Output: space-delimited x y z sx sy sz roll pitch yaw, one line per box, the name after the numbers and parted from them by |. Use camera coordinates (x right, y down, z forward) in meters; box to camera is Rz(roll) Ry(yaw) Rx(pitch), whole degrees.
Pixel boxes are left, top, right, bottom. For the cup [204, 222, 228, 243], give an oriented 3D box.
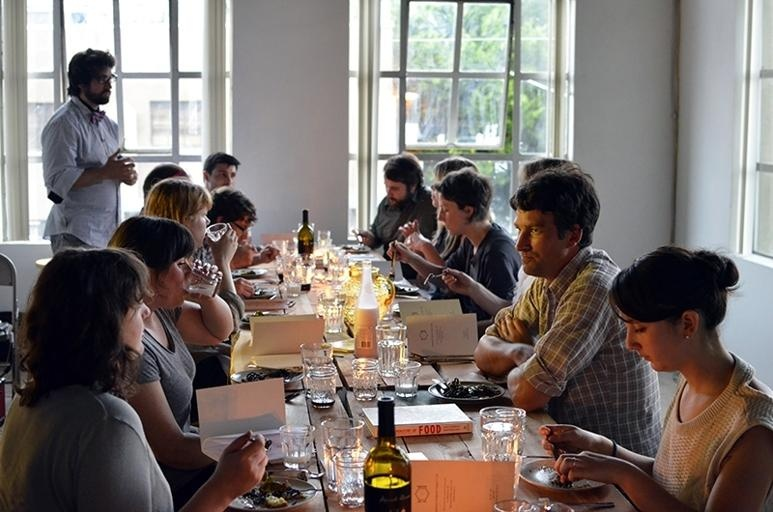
-0.927 -0.120 3.445 0.100 0.083 0.109 -1 16 0 | cup

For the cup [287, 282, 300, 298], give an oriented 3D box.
-0.569 0.213 3.832 0.082 0.064 0.083 -1 5 0 | cup

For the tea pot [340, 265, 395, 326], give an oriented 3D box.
-0.100 0.204 3.114 0.263 0.304 0.263 5 -6 1 | tea pot

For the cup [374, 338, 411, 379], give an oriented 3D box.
-0.010 0.408 2.565 0.139 0.161 0.147 0 -10 0 | cup

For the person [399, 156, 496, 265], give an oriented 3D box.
0.525 -0.515 4.589 0.445 0.784 0.395 15 -24 -28 | person

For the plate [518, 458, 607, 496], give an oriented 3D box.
0.486 0.657 1.850 0.117 0.020 0.118 -3 9 -17 | plate

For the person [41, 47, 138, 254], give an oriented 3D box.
-2.202 -0.744 4.622 0.655 1.452 0.608 -3 6 -21 | person

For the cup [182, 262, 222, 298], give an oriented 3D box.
-0.740 0.103 2.503 0.081 0.091 0.152 7 8 32 | cup

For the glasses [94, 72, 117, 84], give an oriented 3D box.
-2.047 -1.279 4.538 0.119 0.037 0.119 1 10 19 | glasses

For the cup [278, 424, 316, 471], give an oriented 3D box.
-0.281 0.601 1.938 0.109 0.119 0.114 -4 -10 -1 | cup

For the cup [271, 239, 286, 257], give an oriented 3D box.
-0.874 -0.066 4.971 0.161 0.186 0.161 0 6 0 | cup

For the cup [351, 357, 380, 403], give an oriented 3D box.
-0.079 0.469 2.347 0.097 0.139 0.096 -1 -2 0 | cup

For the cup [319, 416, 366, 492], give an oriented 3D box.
-0.132 0.590 1.868 0.119 0.181 0.120 -7 -7 -1 | cup

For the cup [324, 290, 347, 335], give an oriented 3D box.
-0.265 0.292 3.188 0.130 0.212 0.130 -2 -5 0 | cup

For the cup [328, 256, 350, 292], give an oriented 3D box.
-0.326 0.103 4.214 0.136 0.222 0.141 0 3 0 | cup

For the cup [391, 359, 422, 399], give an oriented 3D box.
0.069 0.476 2.351 0.100 0.110 0.102 -4 -11 -1 | cup

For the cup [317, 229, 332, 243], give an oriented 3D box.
-0.498 -0.155 5.084 0.100 0.113 0.099 0 4 0 | cup

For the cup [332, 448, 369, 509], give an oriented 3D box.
-0.109 0.616 1.774 0.133 0.148 0.132 0 4 0 | cup

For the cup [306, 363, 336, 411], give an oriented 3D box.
-0.236 0.487 2.299 0.103 0.136 0.092 0 5 -3 | cup
